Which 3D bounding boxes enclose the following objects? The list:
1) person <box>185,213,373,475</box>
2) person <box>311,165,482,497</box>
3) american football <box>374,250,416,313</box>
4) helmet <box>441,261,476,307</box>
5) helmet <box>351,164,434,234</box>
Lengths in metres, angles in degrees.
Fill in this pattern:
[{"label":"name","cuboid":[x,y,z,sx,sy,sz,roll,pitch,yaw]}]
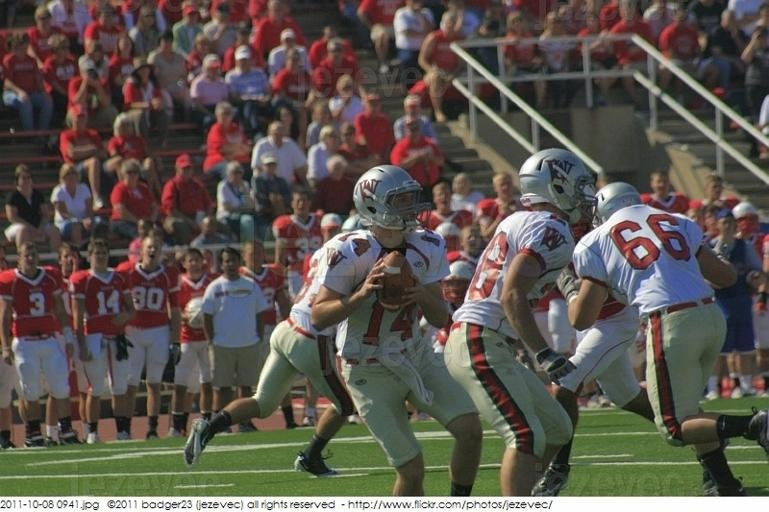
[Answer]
[{"label":"person","cuboid":[-1.010,0.908,16.064,1.170,2.678,1.144,-1,0,-8]},{"label":"person","cuboid":[0.102,0.641,14.763,1.376,2.949,0.618,-3,-7,0]},{"label":"american football","cuboid":[0.106,0.205,14.562,0.259,0.528,0.310,0,-1,2]},{"label":"helmet","cuboid":[0.808,0.264,18.314,0.351,0.478,0.477,-1,-5,13]},{"label":"helmet","cuboid":[0.077,-0.539,14.932,0.650,0.520,0.500,3,7,25]}]
